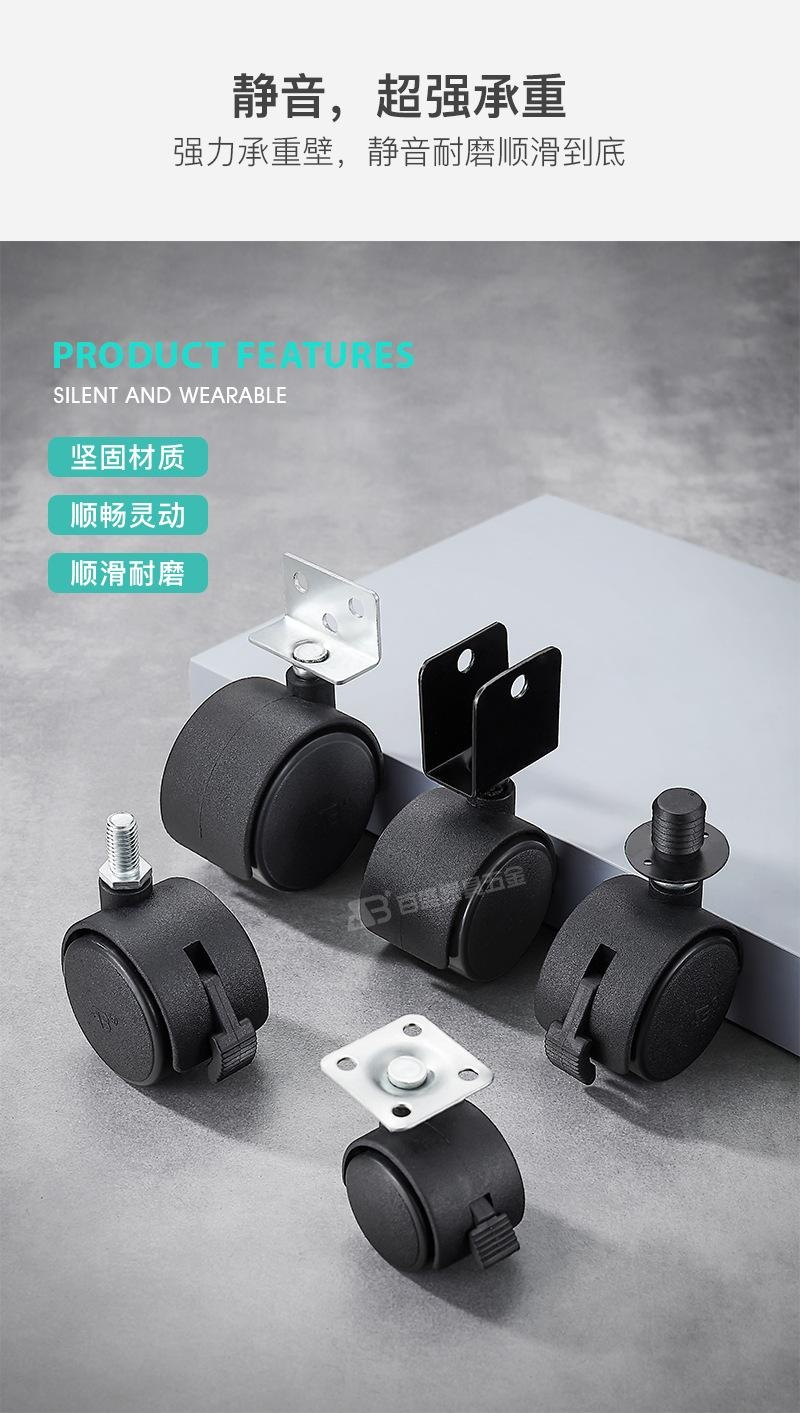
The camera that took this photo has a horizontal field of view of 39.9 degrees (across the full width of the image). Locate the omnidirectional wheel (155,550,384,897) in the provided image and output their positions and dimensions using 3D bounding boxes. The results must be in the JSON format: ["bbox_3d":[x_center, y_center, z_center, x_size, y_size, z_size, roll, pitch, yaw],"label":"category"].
[{"bbox_3d":[-0.311,0.018,2.800,0.517,0.849,0.627,6,16,10],"label":"omnidirectional wheel"}]

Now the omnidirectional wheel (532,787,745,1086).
[{"bbox_3d":[0.470,0.467,2.177,0.450,0.548,0.278,-30,37,-30],"label":"omnidirectional wheel"}]

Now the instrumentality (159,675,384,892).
[{"bbox_3d":[-0.292,0.079,2.782,0.350,0.678,0.465,25,24,39],"label":"instrumentality"}]

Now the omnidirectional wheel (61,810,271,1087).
[{"bbox_3d":[-0.475,0.475,2.198,0.443,0.519,0.250,20,26,35],"label":"omnidirectional wheel"}]

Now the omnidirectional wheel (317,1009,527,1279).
[{"bbox_3d":[0.033,0.738,1.754,0.300,0.431,0.246,-5,9,-39],"label":"omnidirectional wheel"}]

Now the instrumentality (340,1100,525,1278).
[{"bbox_3d":[0.060,0.742,1.814,0.206,0.300,0.242,-19,-11,-40],"label":"instrumentality"}]
